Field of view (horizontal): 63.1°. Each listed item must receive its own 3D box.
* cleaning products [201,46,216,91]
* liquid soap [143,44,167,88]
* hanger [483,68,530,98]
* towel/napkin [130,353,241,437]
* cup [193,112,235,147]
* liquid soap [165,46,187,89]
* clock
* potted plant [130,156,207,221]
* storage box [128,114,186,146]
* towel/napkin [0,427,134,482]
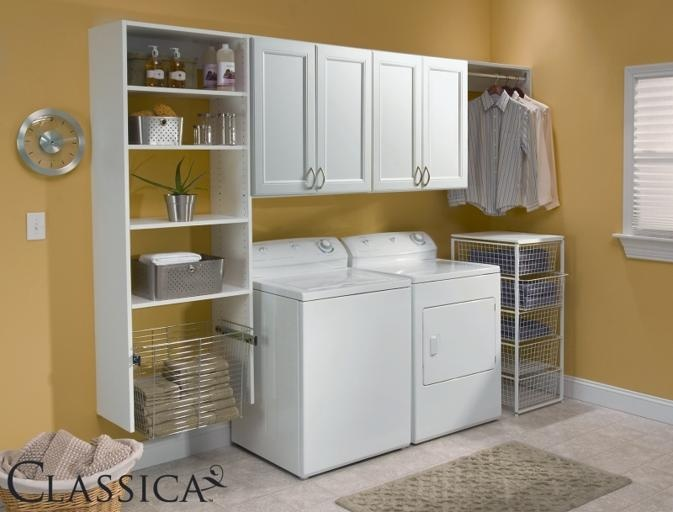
[{"bbox_3d":[-0.698,-1.030,3.002,0.075,0.239,0.120,-3,9,-15],"label":"cleaning products"},{"bbox_3d":[-0.922,-0.958,2.784,0.062,0.204,0.112,5,10,32],"label":"liquid soap"},{"bbox_3d":[1.270,-1.344,4.215,0.424,0.219,0.245,-7,11,-37],"label":"hanger"},{"bbox_3d":[-0.814,0.772,2.948,0.599,0.367,0.435,-4,7,-37],"label":"towel/napkin"},{"bbox_3d":[-0.678,-0.688,3.023,0.190,0.169,0.199,0,1,0],"label":"cup"},{"bbox_3d":[-0.836,-0.975,2.846,0.086,0.196,0.064,-4,9,-20],"label":"liquid soap"},{"bbox_3d":[-1.489,-0.598,2.805,0.368,0.410,0.046,-2,2,-41],"label":"clock"},{"bbox_3d":[-0.919,-0.335,3.005,0.381,0.333,0.382,1,1,-18],"label":"potted plant"},{"bbox_3d":[-0.905,-0.622,2.778,0.212,0.113,0.156,-5,8,-35],"label":"storage box"},{"bbox_3d":[-1.250,0.938,2.549,0.589,0.106,0.407,0,9,5],"label":"towel/napkin"}]
